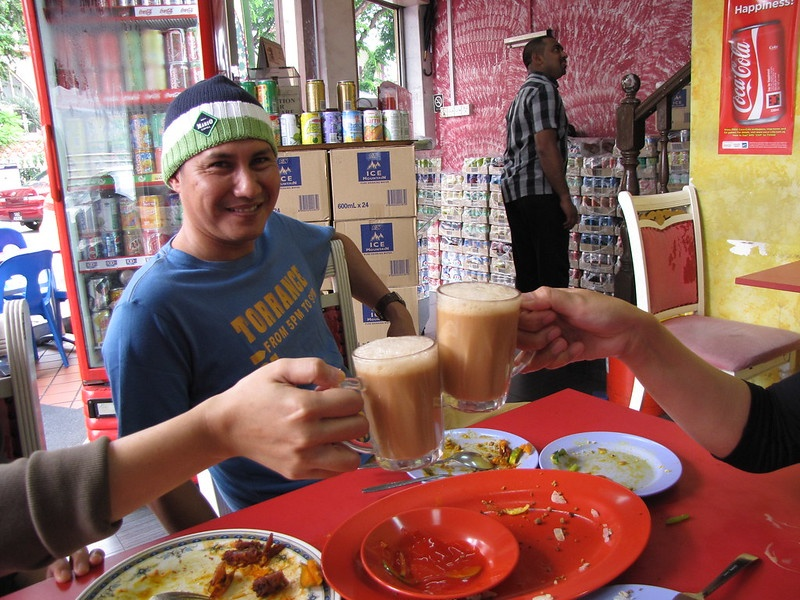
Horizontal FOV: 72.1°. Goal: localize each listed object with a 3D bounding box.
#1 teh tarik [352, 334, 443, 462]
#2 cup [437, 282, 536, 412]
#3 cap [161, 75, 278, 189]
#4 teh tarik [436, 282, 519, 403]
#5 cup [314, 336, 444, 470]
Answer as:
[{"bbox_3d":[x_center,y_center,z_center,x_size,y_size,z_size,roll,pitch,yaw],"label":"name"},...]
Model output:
[{"bbox_3d":[0.004,0.186,0.962,0.144,0.228,0.125,-6,9,2],"label":"teh tarik"},{"bbox_3d":[0.153,0.085,1.110,0.156,0.197,0.232,1,12,14],"label":"cup"},{"bbox_3d":[-0.487,-0.492,1.547,0.303,0.258,0.292,1,12,7],"label":"cap"},{"bbox_3d":[0.160,0.091,1.086,0.162,0.249,0.183,-4,9,11],"label":"teh tarik"},{"bbox_3d":[-0.024,0.207,0.988,0.233,0.185,0.135,-8,-8,5],"label":"cup"}]
